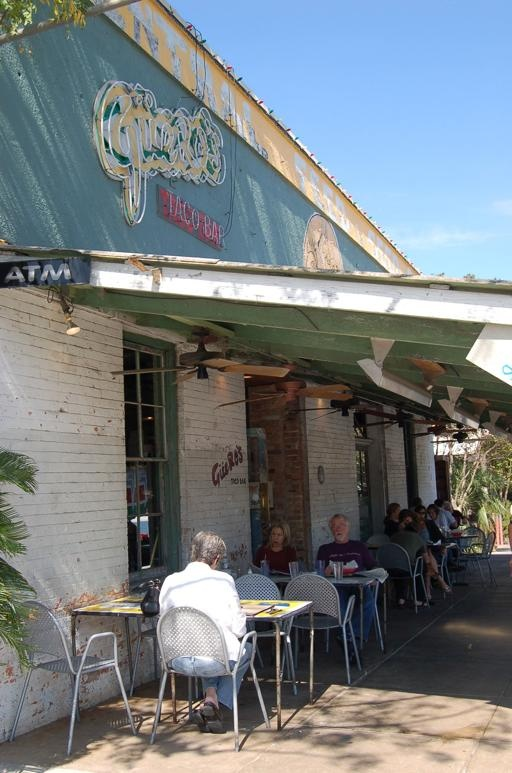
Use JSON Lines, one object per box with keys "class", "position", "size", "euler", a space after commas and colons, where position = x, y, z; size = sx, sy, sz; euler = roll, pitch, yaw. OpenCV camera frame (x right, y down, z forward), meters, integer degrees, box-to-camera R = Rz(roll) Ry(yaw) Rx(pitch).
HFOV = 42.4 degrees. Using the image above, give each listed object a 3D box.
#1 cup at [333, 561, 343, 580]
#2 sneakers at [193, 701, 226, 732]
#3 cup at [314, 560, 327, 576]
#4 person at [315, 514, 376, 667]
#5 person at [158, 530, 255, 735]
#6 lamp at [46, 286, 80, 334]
{"class": "cup", "position": [0.743, 1.709, 6.121], "size": [0.124, 0.154, 0.125], "euler": [0, -14, 0]}
{"class": "sneakers", "position": [-0.272, 1.936, 3.902], "size": [0.148, 0.127, 0.304], "euler": [-4, -49, 7]}
{"class": "cup", "position": [0.635, 1.767, 6.448], "size": [0.089, 0.141, 0.090], "euler": [0, -11, 0]}
{"class": "person", "position": [0.910, 1.872, 6.441], "size": [0.575, 1.211, 0.667], "euler": [-1, -18, -3]}
{"class": "person", "position": [-0.305, 1.503, 3.986], "size": [0.547, 1.202, 0.590], "euler": [-3, -8, -2]}
{"class": "lamp", "position": [-1.351, -0.501, 4.631], "size": [0.183, 0.319, 0.122], "euler": [2, -45, -41]}
